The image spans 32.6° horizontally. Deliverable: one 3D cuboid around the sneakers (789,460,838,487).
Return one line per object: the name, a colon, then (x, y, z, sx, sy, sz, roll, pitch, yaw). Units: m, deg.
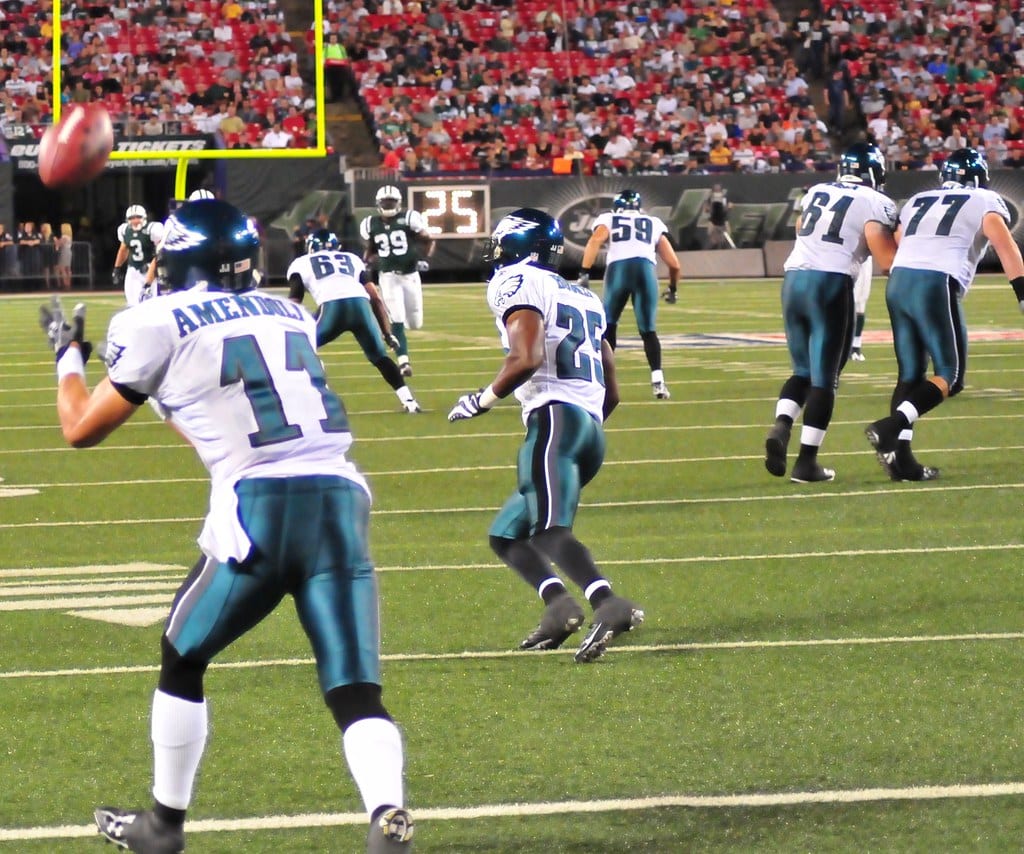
sneakers: (1.924, 0.272, 11.149, 0.326, 0.201, 0.115, -11, 20, -27)

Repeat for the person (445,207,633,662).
person: (0.147, 0.009, 7.237, 0.694, 1.823, 1.193, -1, 6, -2)

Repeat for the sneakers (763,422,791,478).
sneakers: (1.652, 0.146, 10.715, 0.141, 0.338, 0.250, 3, 9, 18)

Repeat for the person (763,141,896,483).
person: (1.994, -0.711, 10.937, 0.779, 2.141, 0.929, 1, 7, 11)

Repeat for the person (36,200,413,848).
person: (-0.804, 0.302, 5.279, 1.440, 1.984, 0.704, 6, 9, 45)

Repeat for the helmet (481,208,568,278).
helmet: (0.057, -0.791, 7.579, 0.355, 0.283, 0.267, 1, -2, 12)

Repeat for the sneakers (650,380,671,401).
sneakers: (1.306, -0.328, 15.600, 0.150, 0.167, 0.080, -4, 6, 10)

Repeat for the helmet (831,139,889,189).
helmet: (2.209, -1.686, 11.184, 0.281, 0.332, 0.357, 14, 18, 39)

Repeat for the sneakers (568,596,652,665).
sneakers: (0.375, 0.773, 6.854, 0.138, 0.370, 0.167, 24, 33, -39)

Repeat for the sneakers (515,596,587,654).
sneakers: (0.153, 0.790, 7.046, 0.128, 0.350, 0.159, 36, 25, -23)

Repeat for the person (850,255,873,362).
person: (3.953, -1.301, 19.639, 0.306, 1.293, 0.267, -10, 50, 6)

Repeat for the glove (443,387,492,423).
glove: (-0.158, -0.106, 7.432, 0.116, 0.092, 0.268, -51, 10, -29)

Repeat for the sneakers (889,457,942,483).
sneakers: (2.518, 0.267, 11.047, 0.371, 0.145, 0.120, -4, 14, -28)

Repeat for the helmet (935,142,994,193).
helmet: (2.926, -1.681, 11.349, 0.287, 0.301, 0.354, 11, 23, 26)

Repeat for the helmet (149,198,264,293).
helmet: (-0.959, -0.590, 5.571, 0.329, 0.325, 0.387, -10, 20, -27)
